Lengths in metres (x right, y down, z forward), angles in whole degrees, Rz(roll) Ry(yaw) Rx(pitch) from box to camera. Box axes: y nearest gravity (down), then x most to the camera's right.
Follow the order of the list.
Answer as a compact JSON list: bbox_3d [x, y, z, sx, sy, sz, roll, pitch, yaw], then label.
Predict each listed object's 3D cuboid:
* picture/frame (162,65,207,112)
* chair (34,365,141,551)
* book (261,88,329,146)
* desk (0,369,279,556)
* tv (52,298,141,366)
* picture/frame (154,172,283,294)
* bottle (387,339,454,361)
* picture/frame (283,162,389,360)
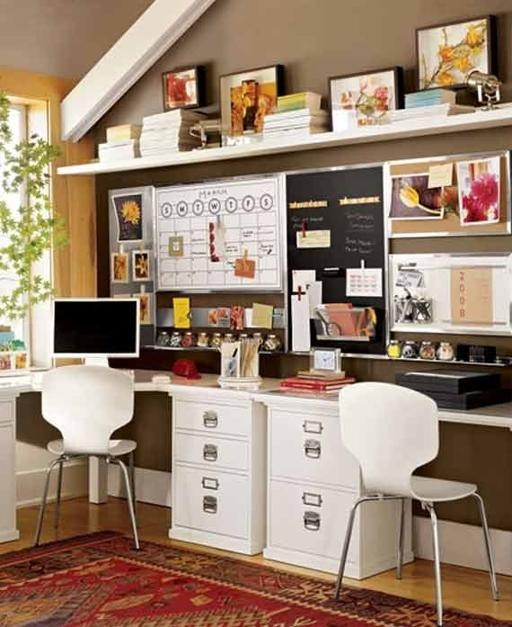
[{"bbox_3d":[-0.427,-1.279,3.094,0.262,0.222,0.041,5,15,33],"label":"picture/frame"},{"bbox_3d":[-0.747,0.651,2.534,0.478,0.790,0.451,0,-5,-3],"label":"chair"},{"bbox_3d":[0.187,-0.899,2.572,0.326,0.225,0.240,0,1,40],"label":"book"},{"bbox_3d":[-0.832,0.837,3.102,1.059,0.629,1.048,2,-2,-43],"label":"desk"},{"bbox_3d":[-0.873,0.085,2.944,0.388,0.267,0.110,0,-3,2],"label":"tv"},{"bbox_3d":[-0.184,-0.445,2.979,0.752,0.530,0.034,0,1,38],"label":"picture/frame"},{"bbox_3d":[0.676,0.152,2.248,0.074,0.100,0.298,5,-9,-35],"label":"bottle"},{"bbox_3d":[0.369,-0.260,2.553,0.582,0.918,0.110,-8,-10,41],"label":"picture/frame"}]
